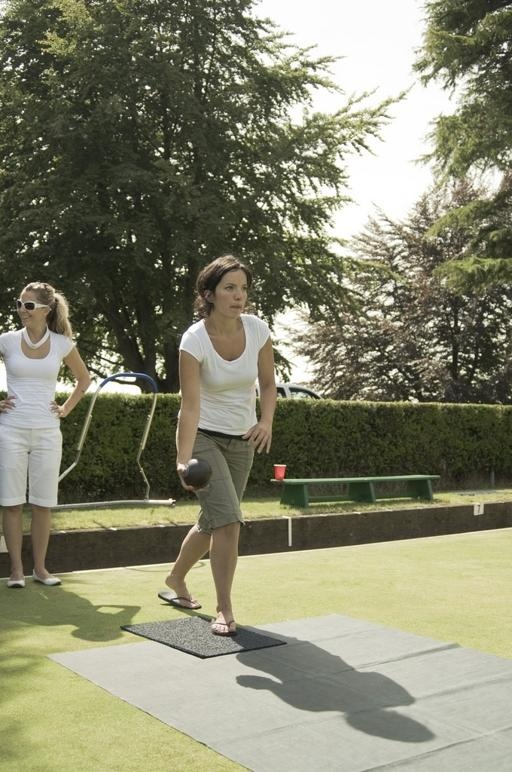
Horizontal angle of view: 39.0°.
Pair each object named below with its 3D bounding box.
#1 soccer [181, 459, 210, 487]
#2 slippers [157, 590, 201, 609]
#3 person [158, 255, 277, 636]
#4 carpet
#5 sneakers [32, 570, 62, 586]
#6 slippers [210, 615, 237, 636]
[{"bbox_3d":[-0.254,0.377,3.089,0.123,0.120,0.092,2,-6,-4],"label":"soccer"},{"bbox_3d":[-0.439,1.228,4.166,0.101,0.058,0.256,-1,2,-43],"label":"slippers"},{"bbox_3d":[-0.136,0.275,3.547,0.474,1.795,0.846,2,-6,-3],"label":"person"},{"bbox_3d":[-0.238,1.162,3.388,0.547,0.024,0.748,6,-8,-38],"label":"carpet"},{"bbox_3d":[-1.375,1.267,4.775,0.220,0.082,0.079,-8,-10,44],"label":"sneakers"},{"bbox_3d":[-0.163,1.128,3.396,0.114,0.074,0.063,28,-32,-22],"label":"slippers"}]
